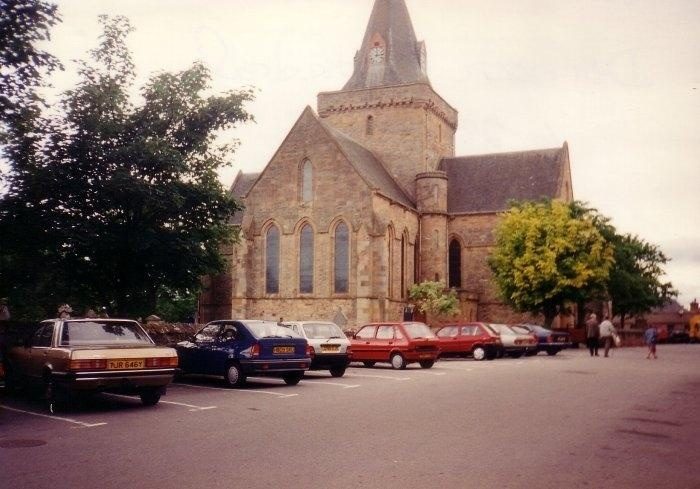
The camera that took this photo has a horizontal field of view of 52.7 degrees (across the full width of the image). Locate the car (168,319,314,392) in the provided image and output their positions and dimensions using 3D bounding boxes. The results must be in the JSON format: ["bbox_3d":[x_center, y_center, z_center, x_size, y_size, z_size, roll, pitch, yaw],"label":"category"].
[{"bbox_3d":[-3.396,3.154,21.612,3.421,1.472,2.120,0,-5,34],"label":"car"}]

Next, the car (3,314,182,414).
[{"bbox_3d":[-6.542,2.892,17.419,4.303,2.256,2.185,-6,-10,32],"label":"car"}]

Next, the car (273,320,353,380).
[{"bbox_3d":[-1.378,3.588,25.140,2.552,1.201,1.513,-1,-3,44],"label":"car"}]

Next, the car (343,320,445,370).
[{"bbox_3d":[1.698,3.930,28.401,3.111,1.365,1.827,-1,-3,34],"label":"car"}]
